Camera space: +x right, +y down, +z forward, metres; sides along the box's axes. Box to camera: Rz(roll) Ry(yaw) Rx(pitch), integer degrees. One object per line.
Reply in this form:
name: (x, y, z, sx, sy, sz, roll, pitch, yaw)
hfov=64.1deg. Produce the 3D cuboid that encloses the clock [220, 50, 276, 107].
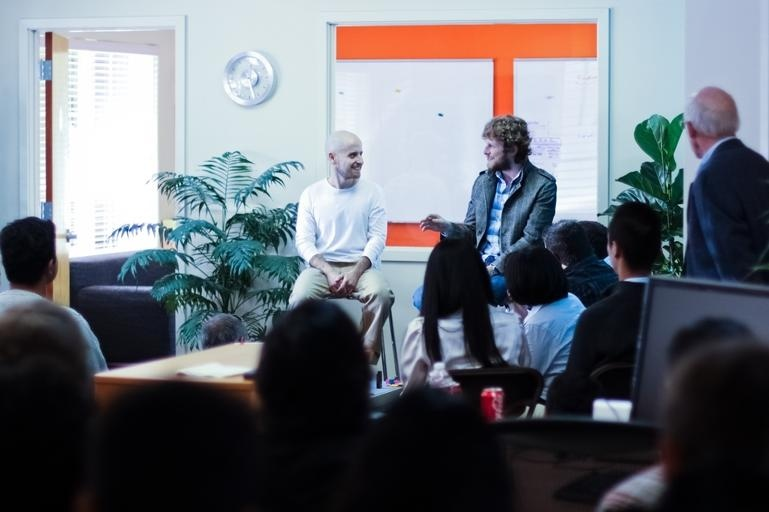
clock: (-0.950, -1.233, 4.227, 0.365, 0.374, 0.075, 0, 2, 10)
